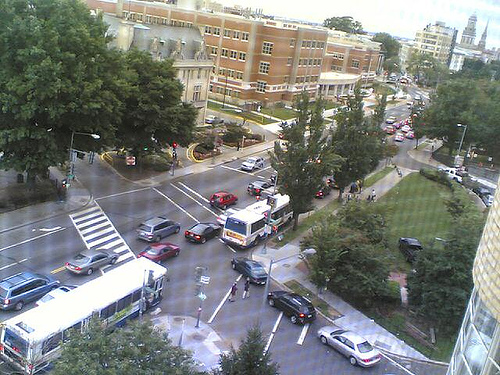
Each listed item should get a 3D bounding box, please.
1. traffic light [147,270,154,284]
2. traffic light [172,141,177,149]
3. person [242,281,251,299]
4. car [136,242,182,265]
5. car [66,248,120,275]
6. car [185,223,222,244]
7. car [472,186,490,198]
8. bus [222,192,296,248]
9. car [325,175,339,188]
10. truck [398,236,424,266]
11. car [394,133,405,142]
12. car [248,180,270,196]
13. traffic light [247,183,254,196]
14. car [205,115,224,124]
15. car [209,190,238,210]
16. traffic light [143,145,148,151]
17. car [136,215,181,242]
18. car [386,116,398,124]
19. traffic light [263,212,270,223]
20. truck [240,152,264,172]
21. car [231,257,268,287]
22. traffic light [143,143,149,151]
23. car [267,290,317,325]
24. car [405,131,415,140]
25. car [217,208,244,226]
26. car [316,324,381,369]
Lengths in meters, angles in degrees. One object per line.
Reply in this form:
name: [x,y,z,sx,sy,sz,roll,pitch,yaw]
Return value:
traffic light: [-7.036,6.340,33.636,0.373,1.295,0.653,0,19,-13]
traffic light: [-9.590,-5.405,60.476,0.557,0.986,1.197,1,19,-10]
person: [-0.289,8.651,40.760,0.559,1.311,1.180,5,19,-1]
car: [-8.260,5.829,43.728,1.790,1.406,4.284,16,19,28]
car: [-13.441,6.245,40.905,1.573,1.201,3.677,25,33,28]
car: [-4.675,4.613,48.293,1.594,1.557,3.552,20,24,37]
car: [34.530,0.541,70.789,2.124,0.949,1.281,-18,34,-22]
bus: [1.596,3.027,52.280,3.535,3.530,12.038,17,29,28]
car: [11.673,-0.855,69.106,2.756,1.517,1.293,-5,41,-1]
truck: [17.470,6.694,52.318,2.126,0.970,3.461,-25,57,1]
car: [32.453,-11.036,103.646,1.271,0.936,2.792,10,28,27]
car: [1.286,0.172,62.215,1.388,1.052,3.063,17,29,32]
traffic light: [0.035,0.306,61.515,0.951,1.561,0.436,1,-12,1]
car: [-6.695,-12.389,87.313,1.469,1.106,3.466,16,25,27]
car: [-3.043,1.472,56.609,1.412,1.670,3.271,19,24,36]
traffic light: [-12.918,-4.845,58.995,0.459,0.426,0.394,1,4,-40]
car: [-9.081,3.940,47.945,2.179,2.062,4.863,14,22,29]
car: [34.840,-16.721,117.991,1.831,1.330,4.350,21,34,32]
traffic light: [1.618,3.059,50.317,0.869,0.867,0.215,7,-5,43]
truck: [0.364,-3.538,71.026,1.780,1.382,3.876,23,26,22]
car: [-0.023,7.412,44.115,1.979,1.515,4.620,-3,21,-32]
traffic light: [-12.909,-5.042,58.795,0.577,0.778,0.231,-2,16,-17]
car: [3.274,9.661,39.648,1.876,1.480,4.064,-5,27,-44]
car: [35.933,-11.692,107.238,1.221,0.971,2.003,20,31,28]
car: [-2.477,3.073,52.158,2.448,1.757,1.892,20,24,38]
car: [7.372,12.207,36.316,2.145,1.535,4.828,-17,36,-40]
